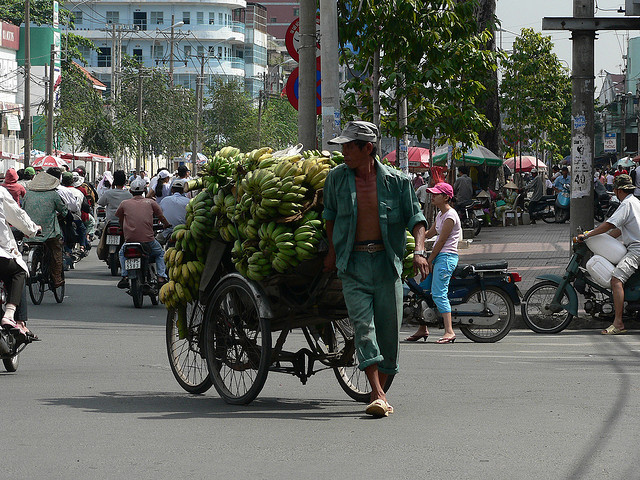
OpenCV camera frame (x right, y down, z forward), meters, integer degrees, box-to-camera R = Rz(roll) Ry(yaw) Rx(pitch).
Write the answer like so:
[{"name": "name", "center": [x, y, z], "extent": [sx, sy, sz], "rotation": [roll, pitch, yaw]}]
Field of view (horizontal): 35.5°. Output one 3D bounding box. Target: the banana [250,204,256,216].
[{"name": "banana", "center": [-0.594, -0.269, 8.899], "extent": [0.025, 0.087, 0.078], "rotation": [-4, 8, -37]}]

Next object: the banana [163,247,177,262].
[{"name": "banana", "center": [-1.439, 0.132, 9.614], "extent": [0.045, 0.130, 0.126], "rotation": [12, -27, -21]}]

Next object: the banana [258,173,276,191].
[{"name": "banana", "center": [-0.458, -0.536, 8.846], "extent": [0.061, 0.228, 0.080], "rotation": [28, -19, 25]}]

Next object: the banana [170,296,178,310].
[{"name": "banana", "center": [-1.407, 0.608, 9.549], "extent": [0.055, 0.145, 0.038], "rotation": [-7, 34, 2]}]

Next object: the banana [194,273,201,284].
[{"name": "banana", "center": [-1.161, 0.358, 9.429], "extent": [0.054, 0.085, 0.023], "rotation": [0, 6, -8]}]

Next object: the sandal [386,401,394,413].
[{"name": "sandal", "center": [0.628, 1.467, 8.791], "extent": [0.081, 0.063, 0.225], "rotation": [-1, -9, 3]}]

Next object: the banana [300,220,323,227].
[{"name": "banana", "center": [-0.068, -0.148, 8.836], "extent": [0.211, 0.077, 0.058], "rotation": [0, 0, -3]}]

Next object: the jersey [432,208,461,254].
[{"name": "jersey", "center": [1.649, -0.103, 12.721], "extent": [0.318, 0.571, 0.418], "rotation": [1, 6, 7]}]

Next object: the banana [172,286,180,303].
[{"name": "banana", "center": [-1.369, 0.510, 9.469], "extent": [0.040, 0.151, 0.052], "rotation": [-18, 3, 14]}]

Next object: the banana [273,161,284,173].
[{"name": "banana", "center": [-0.363, -0.661, 8.935], "extent": [0.034, 0.041, 0.123], "rotation": [17, -51, -29]}]

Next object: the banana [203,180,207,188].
[{"name": "banana", "center": [-1.103, -0.541, 9.573], "extent": [0.028, 0.051, 0.041], "rotation": [1, -15, -13]}]

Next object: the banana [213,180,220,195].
[{"name": "banana", "center": [-0.970, -0.492, 9.382], "extent": [0.063, 0.115, 0.052], "rotation": [-2, 6, -21]}]

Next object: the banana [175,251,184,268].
[{"name": "banana", "center": [-1.339, 0.180, 9.486], "extent": [0.047, 0.164, 0.059], "rotation": [17, -5, -15]}]

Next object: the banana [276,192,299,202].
[{"name": "banana", "center": [-0.273, -0.379, 8.848], "extent": [0.211, 0.078, 0.058], "rotation": [-13, 30, -9]}]

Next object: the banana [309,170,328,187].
[{"name": "banana", "center": [-0.004, -0.550, 8.903], "extent": [0.179, 0.038, 0.061], "rotation": [-38, 18, -10]}]

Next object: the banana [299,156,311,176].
[{"name": "banana", "center": [-0.123, -0.657, 8.959], "extent": [0.063, 0.183, 0.048], "rotation": [2, -32, 23]}]

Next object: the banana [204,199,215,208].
[{"name": "banana", "center": [-1.046, -0.341, 9.368], "extent": [0.077, 0.036, 0.062], "rotation": [21, -33, -15]}]

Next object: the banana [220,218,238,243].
[{"name": "banana", "center": [-0.876, -0.087, 9.277], "extent": [0.069, 0.208, 0.161], "rotation": [-4, -36, -39]}]

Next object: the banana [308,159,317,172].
[{"name": "banana", "center": [-0.046, -0.674, 8.998], "extent": [0.063, 0.098, 0.157], "rotation": [2, 6, 15]}]

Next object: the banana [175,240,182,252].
[{"name": "banana", "center": [-1.356, 0.046, 9.536], "extent": [0.053, 0.038, 0.128], "rotation": [2, -43, -25]}]

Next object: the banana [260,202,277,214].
[{"name": "banana", "center": [-0.451, -0.279, 8.803], "extent": [0.167, 0.059, 0.047], "rotation": [33, -25, -11]}]

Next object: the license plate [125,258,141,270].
[{"name": "license plate", "center": [-2.963, 0.374, 15.721], "extent": [0.248, 0.181, 0.156], "rotation": [-1, 6, -10]}]

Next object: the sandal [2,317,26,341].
[{"name": "sandal", "center": [-3.199, 0.933, 10.403], "extent": [0.266, 0.272, 0.159], "rotation": [-4, 7, -34]}]

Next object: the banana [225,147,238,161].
[{"name": "banana", "center": [-0.843, -0.811, 9.508], "extent": [0.042, 0.053, 0.181], "rotation": [-35, 4, 29]}]

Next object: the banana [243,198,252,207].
[{"name": "banana", "center": [-0.644, -0.334, 8.926], "extent": [0.082, 0.081, 0.030], "rotation": [5, 8, 37]}]

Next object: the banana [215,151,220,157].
[{"name": "banana", "center": [-0.979, -0.815, 9.478], "extent": [0.036, 0.049, 0.048], "rotation": [-3, -11, 9]}]

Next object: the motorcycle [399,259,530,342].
[{"name": "motorcycle", "center": [2.065, 0.797, 13.294], "extent": [1.793, 1.201, 0.952], "rotation": [0, -6, -6]}]

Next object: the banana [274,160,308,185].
[{"name": "banana", "center": [-0.264, -0.602, 8.933], "extent": [0.276, 0.182, 0.098], "rotation": [33, 23, 32]}]

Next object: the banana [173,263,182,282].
[{"name": "banana", "center": [-1.362, 0.309, 9.467], "extent": [0.064, 0.183, 0.048], "rotation": [20, 4, -39]}]

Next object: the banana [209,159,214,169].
[{"name": "banana", "center": [-1.027, -0.712, 9.395], "extent": [0.027, 0.088, 0.071], "rotation": [-5, 8, -40]}]

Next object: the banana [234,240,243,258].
[{"name": "banana", "center": [-0.738, 0.064, 9.087], "extent": [0.073, 0.123, 0.027], "rotation": [-25, 12, -38]}]

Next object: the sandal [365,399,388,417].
[{"name": "sandal", "center": [0.511, 1.445, 8.592], "extent": [0.197, 0.157, 0.104], "rotation": [0, 6, -8]}]

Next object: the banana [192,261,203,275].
[{"name": "banana", "center": [-1.158, 0.263, 9.452], "extent": [0.089, 0.113, 0.062], "rotation": [0, 6, -7]}]

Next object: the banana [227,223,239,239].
[{"name": "banana", "center": [-0.808, -0.077, 9.194], "extent": [0.037, 0.136, 0.081], "rotation": [-8, -29, -37]}]

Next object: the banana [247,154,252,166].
[{"name": "banana", "center": [-0.643, -0.732, 9.191], "extent": [0.037, 0.118, 0.072], "rotation": [0, 5, -13]}]

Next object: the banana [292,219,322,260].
[{"name": "banana", "center": [-0.097, -0.010, 8.751], "extent": [0.234, 0.311, 0.147], "rotation": [-31, 31, -19]}]

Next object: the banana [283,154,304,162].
[{"name": "banana", "center": [-0.230, -0.745, 9.101], "extent": [0.206, 0.069, 0.055], "rotation": [-25, 11, -37]}]

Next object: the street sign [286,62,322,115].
[{"name": "street sign", "center": [-0.234, -2.248, 14.796], "extent": [0.511, 0.766, 1.115], "rotation": [0, 6, -2]}]

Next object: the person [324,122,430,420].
[{"name": "person", "center": [0.484, 0.259, 8.637], "extent": [0.887, 2.526, 0.517], "rotation": [1, 6, 2]}]
